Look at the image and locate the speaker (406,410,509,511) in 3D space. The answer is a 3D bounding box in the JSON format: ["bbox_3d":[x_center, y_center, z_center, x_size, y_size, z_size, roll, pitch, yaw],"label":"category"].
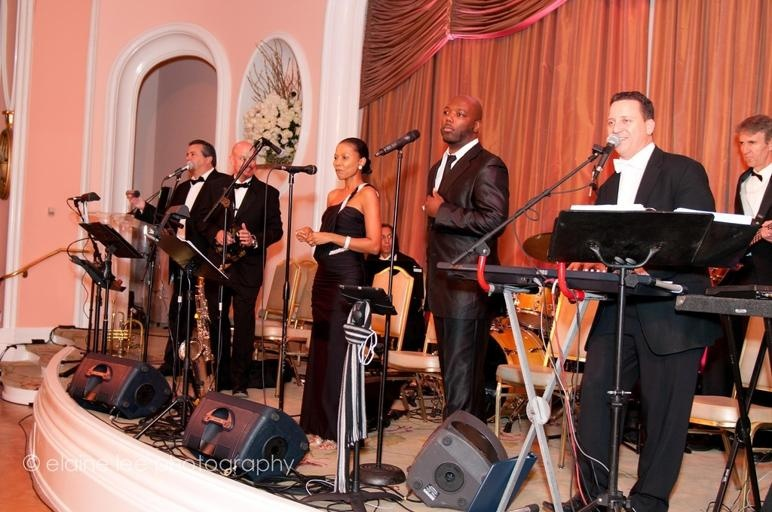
[{"bbox_3d":[0.488,1.412,5.227,0.600,0.598,0.607,5,-6,22],"label":"speaker"}]

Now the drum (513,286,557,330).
[{"bbox_3d":[1.224,0.437,6.040,0.334,0.373,0.345,15,-11,3],"label":"drum"}]

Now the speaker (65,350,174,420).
[{"bbox_3d":[-2.300,0.968,6.377,0.752,0.468,0.554,-4,-3,37],"label":"speaker"}]

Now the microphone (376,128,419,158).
[{"bbox_3d":[0.096,-0.851,5.579,0.285,0.273,0.495,2,-5,3],"label":"microphone"}]

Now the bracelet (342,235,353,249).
[{"bbox_3d":[-0.315,-0.106,5.912,0.078,0.059,0.080,4,10,-11],"label":"bracelet"}]

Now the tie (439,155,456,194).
[{"bbox_3d":[0.485,-0.662,5.752,0.082,0.379,0.056,11,-29,23],"label":"tie"}]

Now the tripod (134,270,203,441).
[{"bbox_3d":[-1.849,0.836,6.508,0.516,1.366,1.540,3,-5,-13],"label":"tripod"}]

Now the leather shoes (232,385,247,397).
[{"bbox_3d":[-1.474,1.348,7.376,0.088,0.115,0.113,-3,-6,4],"label":"leather shoes"}]
